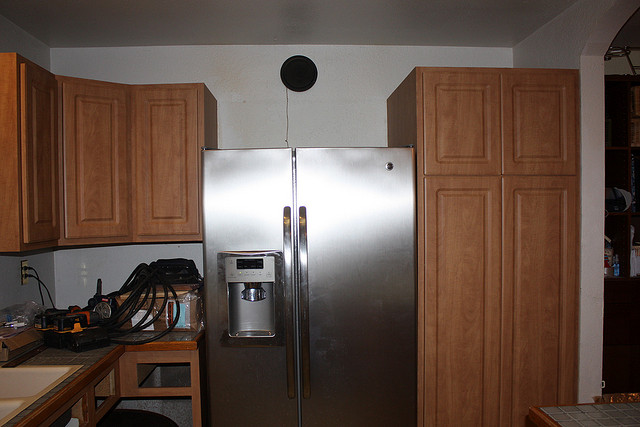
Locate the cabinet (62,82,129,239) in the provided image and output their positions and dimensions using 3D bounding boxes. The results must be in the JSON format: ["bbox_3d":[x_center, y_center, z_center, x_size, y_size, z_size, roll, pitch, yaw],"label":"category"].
[{"bbox_3d":[-1.513,-0.348,3.607,0.295,1.005,0.389,0,6,-22],"label":"cabinet"}]

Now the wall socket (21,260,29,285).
[{"bbox_3d":[-2.078,0.416,3.764,0.014,0.183,0.059,-2,0,10],"label":"wall socket"}]

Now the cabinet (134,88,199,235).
[{"bbox_3d":[-1.100,-0.346,3.921,0.538,1.042,0.530,-2,5,-23],"label":"cabinet"}]
